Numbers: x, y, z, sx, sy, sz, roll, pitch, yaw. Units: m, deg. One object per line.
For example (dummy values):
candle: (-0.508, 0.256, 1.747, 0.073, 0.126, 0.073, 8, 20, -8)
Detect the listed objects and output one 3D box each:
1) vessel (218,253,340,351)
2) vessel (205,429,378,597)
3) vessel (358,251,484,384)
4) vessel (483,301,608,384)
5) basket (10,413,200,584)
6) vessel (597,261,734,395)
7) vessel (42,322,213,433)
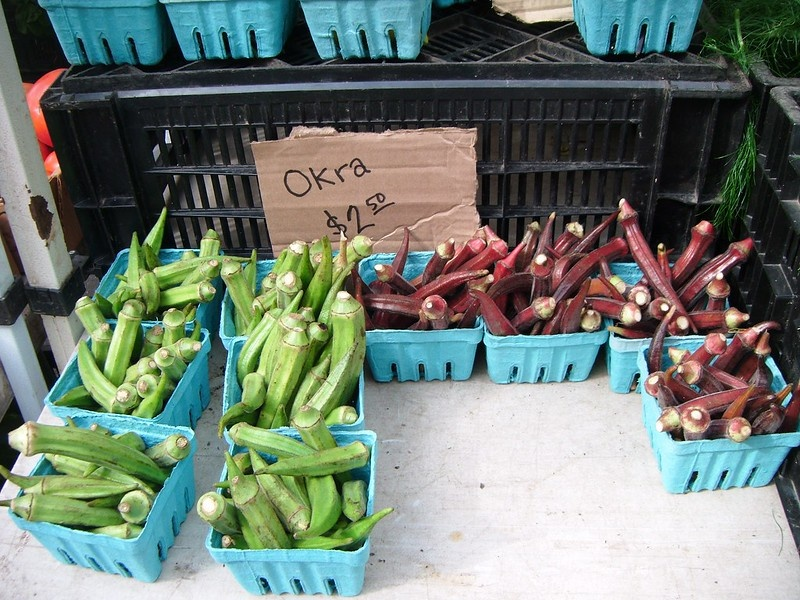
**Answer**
vessel: (-0.462, 0.013, 2.424, 0.204, 0.113, 0.348, -5, 66, 12)
vessel: (-0.319, 0.724, 1.848, 0.431, 0.283, 0.578, 1, 49, 0)
vessel: (0.105, 0.081, 2.739, 0.517, 0.274, 0.646, 2, 30, 6)
vessel: (0.567, 0.186, 2.482, 0.346, 0.186, 0.291, -2, 36, 3)
basket: (-1.067, 0.654, 2.109, 0.554, 0.662, 0.354, 20, 44, -34)
vessel: (0.961, 0.208, 2.320, 0.385, 0.292, 0.591, 0, 44, 8)
vessel: (-0.940, 0.343, 2.303, 0.379, 0.258, 0.524, 1, 42, 2)
